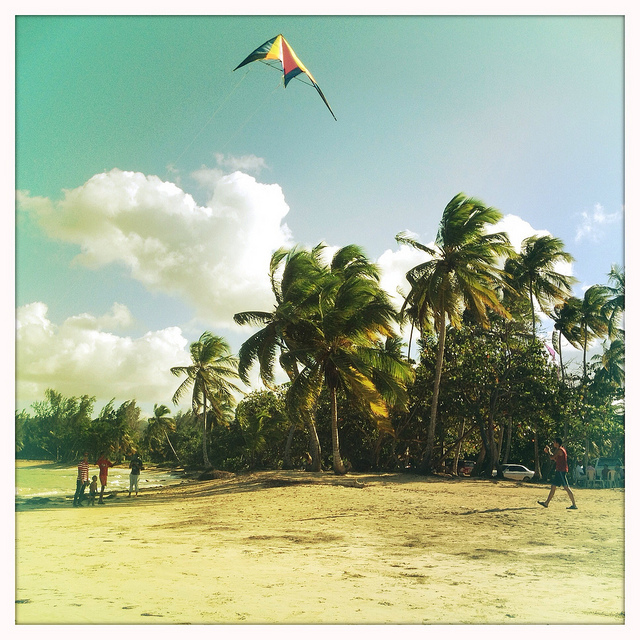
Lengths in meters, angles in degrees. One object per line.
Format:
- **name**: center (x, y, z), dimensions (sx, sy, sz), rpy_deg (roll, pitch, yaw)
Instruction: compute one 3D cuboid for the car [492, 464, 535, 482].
- **car**: center (8.663, 6.892, 30.069), dimensions (2.065, 0.861, 0.966), rpy_deg (6, -7, 2)
